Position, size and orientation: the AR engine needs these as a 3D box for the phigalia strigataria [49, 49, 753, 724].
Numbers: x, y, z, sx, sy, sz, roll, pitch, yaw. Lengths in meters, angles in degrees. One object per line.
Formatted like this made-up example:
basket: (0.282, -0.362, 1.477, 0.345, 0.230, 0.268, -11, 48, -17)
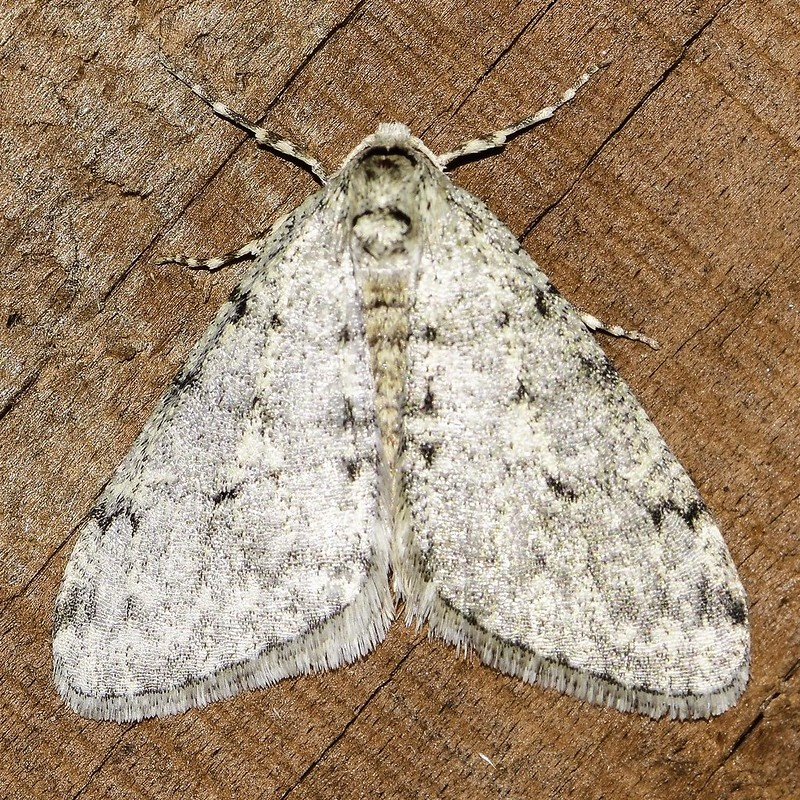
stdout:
phigalia strigataria: (-0.005, 0.239, 5.231, 2.454, 0.298, 1.910, -1, 86, 2)
